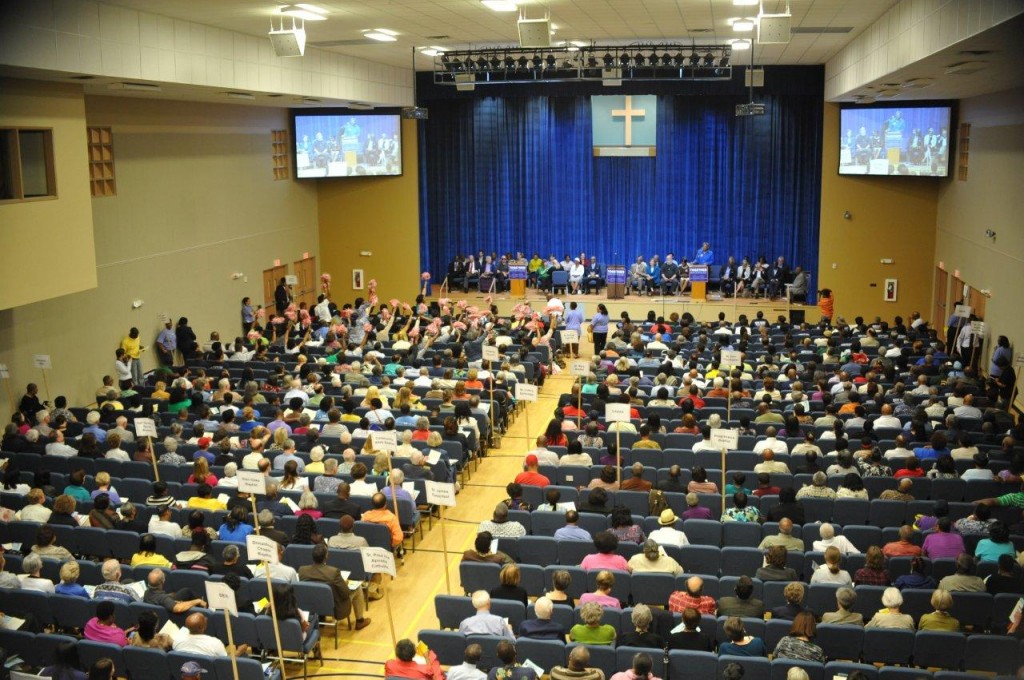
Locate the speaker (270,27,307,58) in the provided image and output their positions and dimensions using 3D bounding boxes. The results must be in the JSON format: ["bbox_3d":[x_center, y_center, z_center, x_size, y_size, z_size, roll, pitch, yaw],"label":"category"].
[{"bbox_3d":[-4.384,-5.880,15.798,0.598,0.523,0.757,-2,7,-18],"label":"speaker"}]

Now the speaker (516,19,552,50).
[{"bbox_3d":[0.431,-5.808,15.238,0.554,0.389,0.581,1,7,8],"label":"speaker"}]

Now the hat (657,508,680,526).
[{"bbox_3d":[2.193,2.472,11.263,0.293,0.294,0.330,1,7,11],"label":"hat"}]
